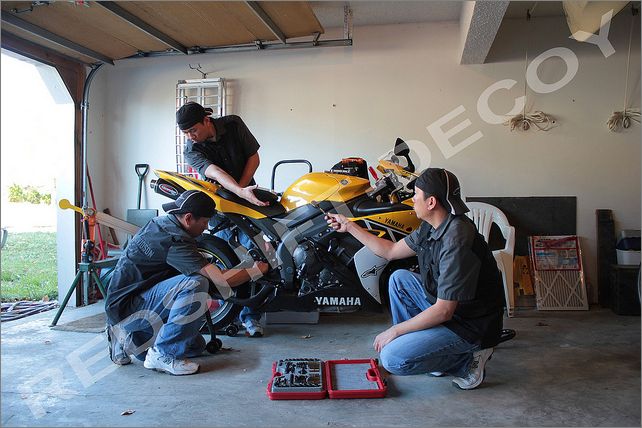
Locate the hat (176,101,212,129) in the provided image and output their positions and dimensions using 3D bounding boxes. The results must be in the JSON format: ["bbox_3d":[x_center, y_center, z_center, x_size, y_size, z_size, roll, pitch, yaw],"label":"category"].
[{"bbox_3d":[-1.195,-0.926,3.985,0.207,0.145,0.300,-7,28,15],"label":"hat"}]

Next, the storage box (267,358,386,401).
[{"bbox_3d":[0.040,1.272,3.277,0.587,0.101,0.346,-1,8,0],"label":"storage box"}]

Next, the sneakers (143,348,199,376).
[{"bbox_3d":[-1.228,1.202,3.531,0.497,0.221,0.175,3,-2,-1],"label":"sneakers"}]

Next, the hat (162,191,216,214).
[{"bbox_3d":[-1.084,-0.106,3.474,0.346,0.163,0.212,10,5,-5],"label":"hat"}]

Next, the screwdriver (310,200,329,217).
[{"bbox_3d":[-0.031,-0.068,3.860,0.067,0.249,0.043,-46,-3,-1],"label":"screwdriver"}]

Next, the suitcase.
[{"bbox_3d":[0.059,1.276,3.261,0.592,0.098,0.348,-1,8,0],"label":"suitcase"}]
